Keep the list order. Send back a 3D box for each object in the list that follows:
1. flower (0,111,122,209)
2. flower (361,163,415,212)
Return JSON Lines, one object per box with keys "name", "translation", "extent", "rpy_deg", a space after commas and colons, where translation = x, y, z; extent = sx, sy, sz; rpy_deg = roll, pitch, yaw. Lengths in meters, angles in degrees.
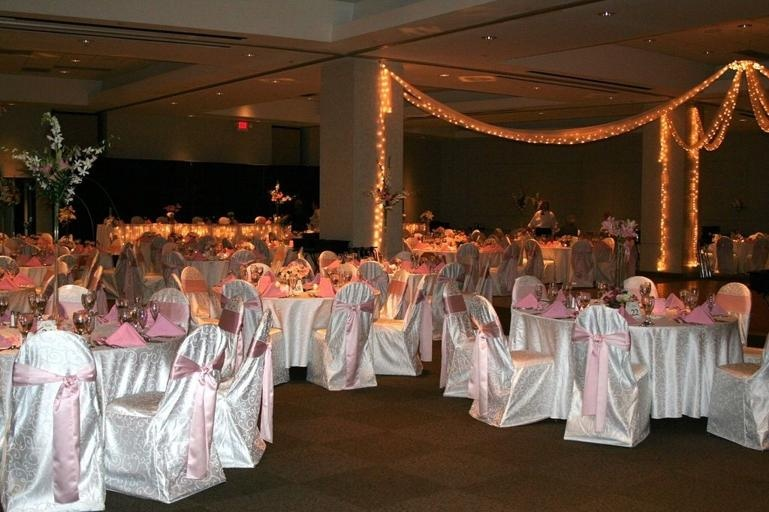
{"name": "flower", "translation": [-2.751, -0.784, 4.971], "extent": [0.520, 0.786, 0.855], "rpy_deg": [-6, 15, -32]}
{"name": "flower", "translation": [0.015, -1.162, 11.161], "extent": [0.686, 0.748, 0.705], "rpy_deg": [16, 31, 7]}
